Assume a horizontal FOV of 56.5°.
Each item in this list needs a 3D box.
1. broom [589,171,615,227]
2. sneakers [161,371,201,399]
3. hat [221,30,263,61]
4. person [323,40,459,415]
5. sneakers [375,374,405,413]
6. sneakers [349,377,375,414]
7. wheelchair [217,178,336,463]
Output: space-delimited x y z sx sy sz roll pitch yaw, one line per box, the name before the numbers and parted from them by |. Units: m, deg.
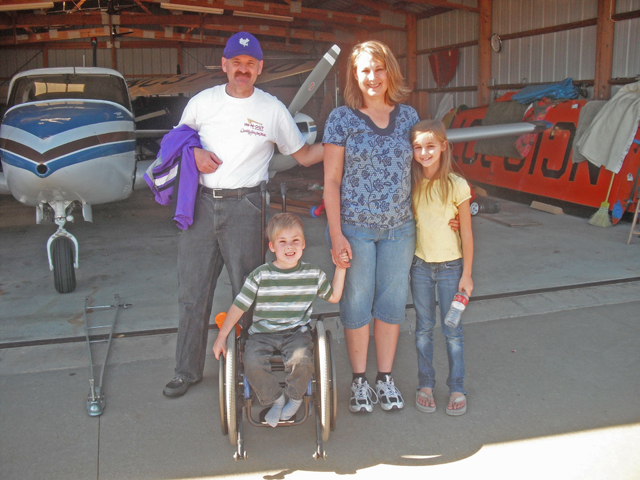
broom | 3.650 -0.521 7.663 0.246 0.652 0.415 8 16 25
sneakers | -0.893 0.927 3.815 0.095 0.117 0.262 24 15 33
hat | -0.449 -1.112 3.419 0.158 0.119 0.210 2 11 -9
person | 0.282 -0.044 3.479 0.553 2.127 0.420 2 14 0
sneakers | 0.419 0.930 3.597 0.120 0.114 0.254 -3 8 -10
sneakers | 0.251 0.940 3.533 0.111 0.100 0.238 -1 1 -5
wheelchair | -0.228 0.535 3.160 0.671 1.294 0.477 2 14 1
